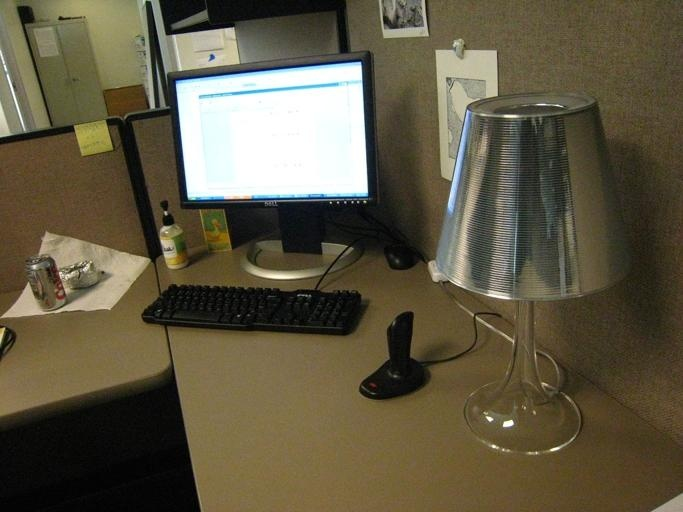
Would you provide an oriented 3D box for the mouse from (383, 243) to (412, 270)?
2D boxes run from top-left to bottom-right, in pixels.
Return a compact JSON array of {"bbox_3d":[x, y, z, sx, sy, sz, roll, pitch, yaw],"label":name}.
[{"bbox_3d":[0.150,-0.002,1.449,0.076,0.048,0.069,-6,22,5],"label":"mouse"}]

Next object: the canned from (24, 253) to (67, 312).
[{"bbox_3d":[-0.737,0.064,1.415,0.069,0.127,0.085,-20,25,-26],"label":"canned"}]

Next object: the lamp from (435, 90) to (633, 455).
[{"bbox_3d":[0.278,0.035,0.878,0.239,0.537,0.231,-15,23,-16],"label":"lamp"}]

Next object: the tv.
[{"bbox_3d":[-0.175,-0.231,1.476,0.609,0.587,0.284,2,16,17],"label":"tv"}]
